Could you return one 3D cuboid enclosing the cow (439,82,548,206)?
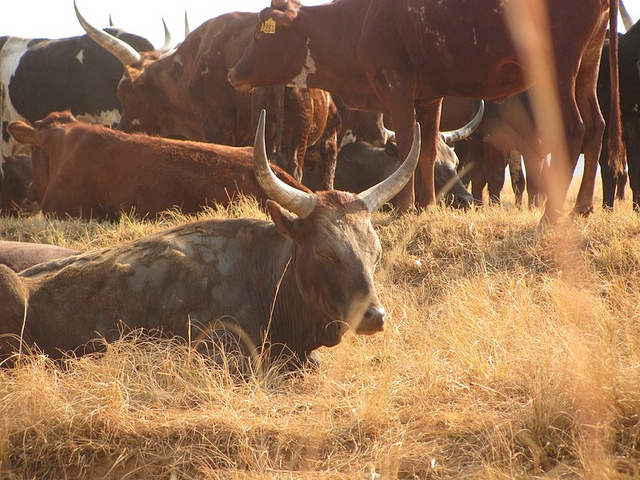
[{"bbox_3d":[2.582,-1.432,12.011,1.353,1.689,2.549,-6,13,-28],"label":"cow"}]
